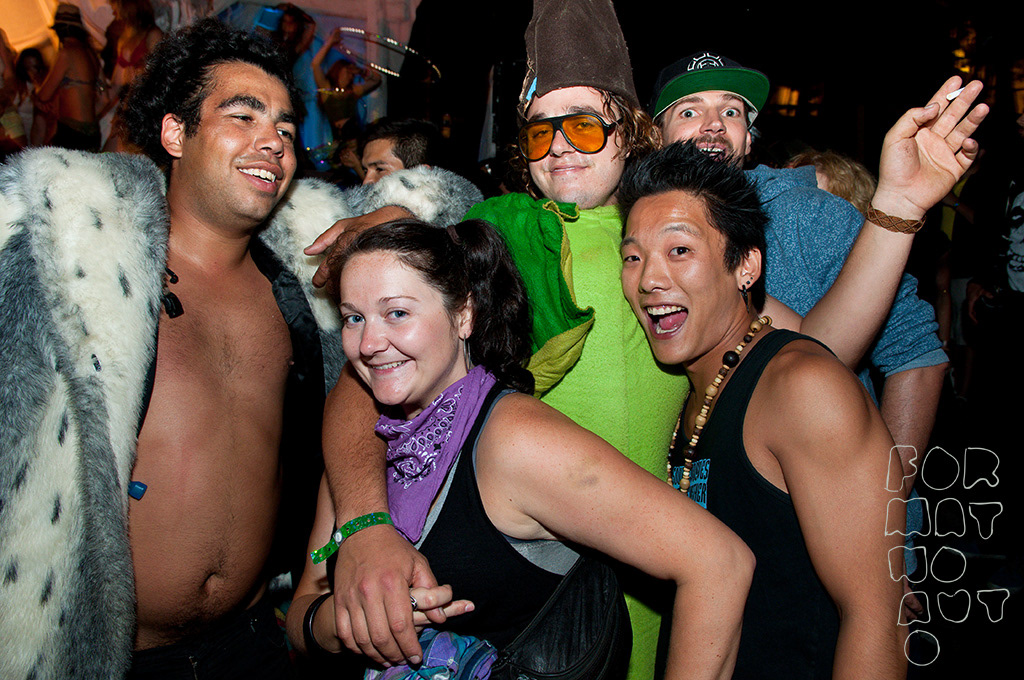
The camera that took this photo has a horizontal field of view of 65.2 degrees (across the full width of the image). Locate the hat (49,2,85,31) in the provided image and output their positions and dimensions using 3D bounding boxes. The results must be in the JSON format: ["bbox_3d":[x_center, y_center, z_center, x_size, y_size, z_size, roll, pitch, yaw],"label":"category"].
[{"bbox_3d":[-2.960,-2.130,5.301,0.189,0.096,0.182,2,7,-7],"label":"hat"}]
